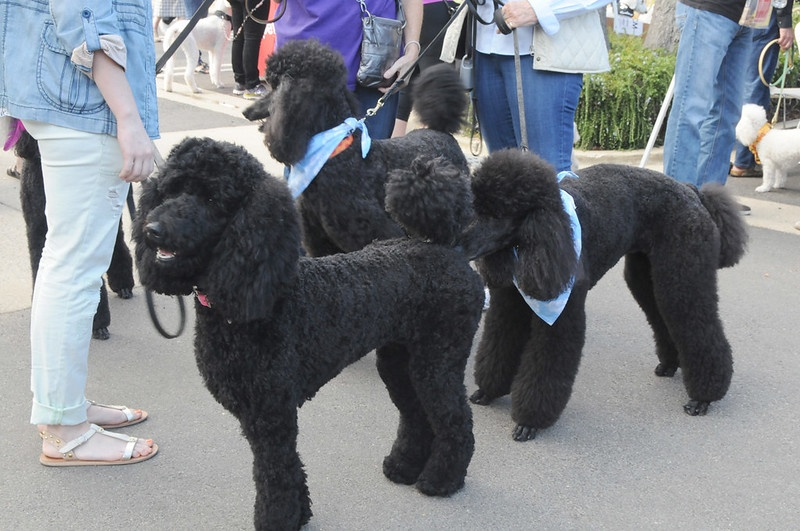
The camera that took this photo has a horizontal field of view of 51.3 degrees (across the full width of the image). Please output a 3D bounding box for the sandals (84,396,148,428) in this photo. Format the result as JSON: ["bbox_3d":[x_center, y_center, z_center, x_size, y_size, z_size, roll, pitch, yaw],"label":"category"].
[{"bbox_3d":[-1.643,0.861,4.803,0.389,0.148,0.125,-5,22,-19],"label":"sandals"}]

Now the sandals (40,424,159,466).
[{"bbox_3d":[-1.658,0.997,4.685,0.591,0.225,0.243,-3,18,-6],"label":"sandals"}]
